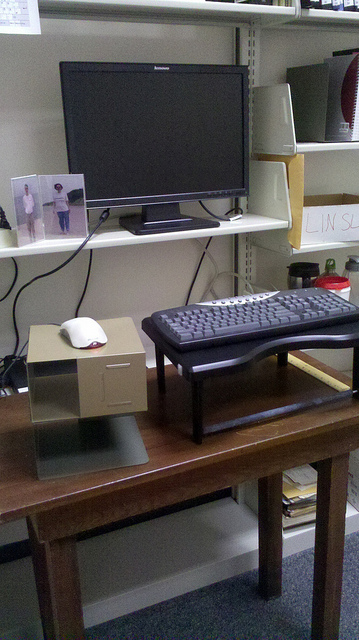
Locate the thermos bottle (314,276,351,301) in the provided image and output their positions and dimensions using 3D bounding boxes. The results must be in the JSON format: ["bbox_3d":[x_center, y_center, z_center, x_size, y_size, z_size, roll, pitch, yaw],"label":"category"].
[{"bbox_3d":[0.434,-0.104,1.308,0.083,0.098,0.081,-13,18,-41],"label":"thermos bottle"}]

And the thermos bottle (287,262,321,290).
[{"bbox_3d":[0.379,-0.139,1.440,0.072,0.114,0.121,0,6,2],"label":"thermos bottle"}]

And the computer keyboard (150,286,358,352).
[{"bbox_3d":[0.153,-0.010,0.924,0.406,0.041,0.192,-7,18,-19],"label":"computer keyboard"}]

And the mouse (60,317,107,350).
[{"bbox_3d":[-0.153,0.015,0.759,0.063,0.028,0.118,-9,19,-26],"label":"mouse"}]
